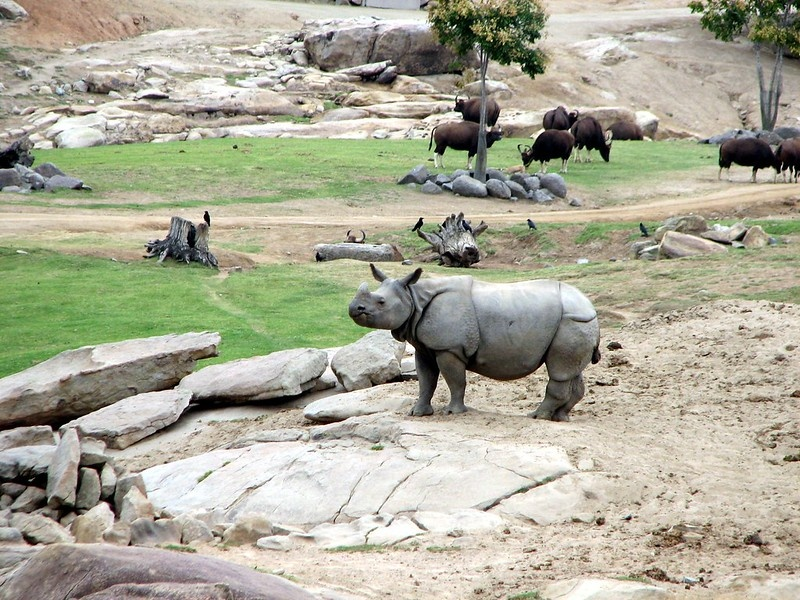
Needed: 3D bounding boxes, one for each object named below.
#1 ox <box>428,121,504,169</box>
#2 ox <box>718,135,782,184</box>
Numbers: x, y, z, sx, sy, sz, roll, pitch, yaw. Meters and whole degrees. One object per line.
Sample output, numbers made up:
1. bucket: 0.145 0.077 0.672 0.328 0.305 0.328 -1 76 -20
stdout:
1. ox: 2.318 -6.467 43.331 1.789 1.962 1.802 0 12 3
2. ox: 13.229 -5.268 39.140 1.982 1.595 0.811 2 14 11
